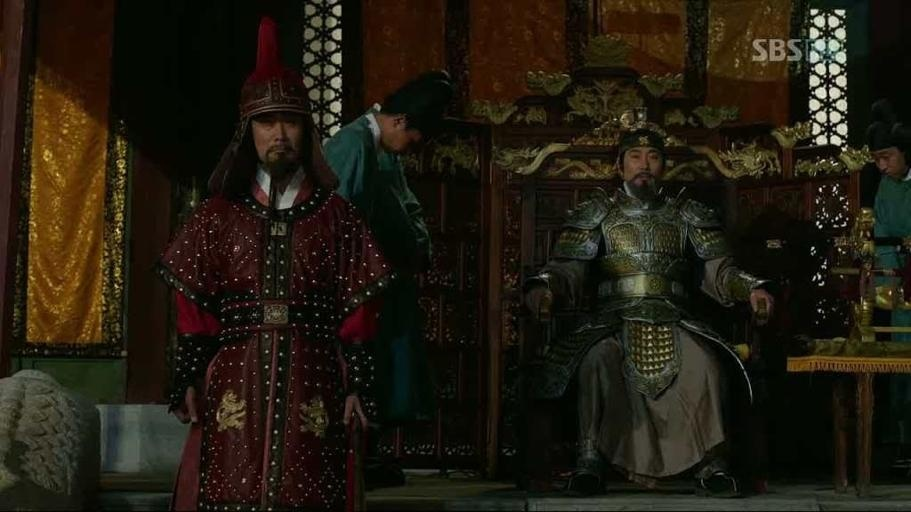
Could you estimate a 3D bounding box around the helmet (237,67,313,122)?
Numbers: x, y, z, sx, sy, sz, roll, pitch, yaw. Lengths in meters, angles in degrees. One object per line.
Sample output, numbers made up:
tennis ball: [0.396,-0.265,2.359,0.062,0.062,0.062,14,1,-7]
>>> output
helmet: [-1.264,-1.108,11.190,0.554,0.329,0.493,0,-1,-6]

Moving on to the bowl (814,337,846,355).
bowl: [2.818,0.670,12.264,0.205,0.145,0.178,7,-17,-30]

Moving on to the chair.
chair: [1.528,0.354,12.721,2.171,2.762,1.240,-4,2,34]

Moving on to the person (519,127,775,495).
person: [1.432,0.426,12.691,1.787,2.854,0.601,-3,-18,2]
